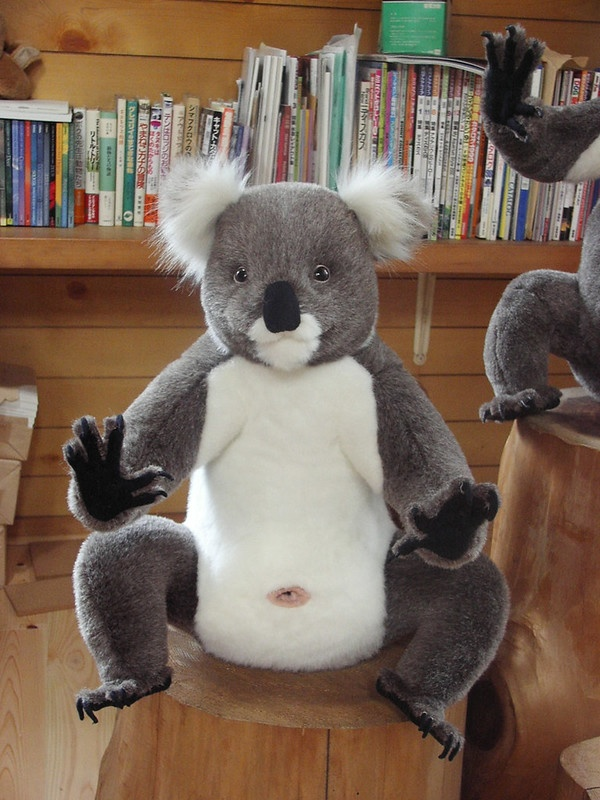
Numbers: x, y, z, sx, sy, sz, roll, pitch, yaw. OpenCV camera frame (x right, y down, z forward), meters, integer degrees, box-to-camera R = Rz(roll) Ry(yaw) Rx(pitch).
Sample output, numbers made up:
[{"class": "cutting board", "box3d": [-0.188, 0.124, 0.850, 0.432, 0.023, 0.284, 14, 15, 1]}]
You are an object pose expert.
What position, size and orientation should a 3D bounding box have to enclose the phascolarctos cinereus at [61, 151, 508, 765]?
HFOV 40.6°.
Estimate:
[{"class": "phascolarctos cinereus", "box3d": [0.002, 0.039, 0.791, 0.520, 0.530, 0.366, 1, 7, 18]}]
